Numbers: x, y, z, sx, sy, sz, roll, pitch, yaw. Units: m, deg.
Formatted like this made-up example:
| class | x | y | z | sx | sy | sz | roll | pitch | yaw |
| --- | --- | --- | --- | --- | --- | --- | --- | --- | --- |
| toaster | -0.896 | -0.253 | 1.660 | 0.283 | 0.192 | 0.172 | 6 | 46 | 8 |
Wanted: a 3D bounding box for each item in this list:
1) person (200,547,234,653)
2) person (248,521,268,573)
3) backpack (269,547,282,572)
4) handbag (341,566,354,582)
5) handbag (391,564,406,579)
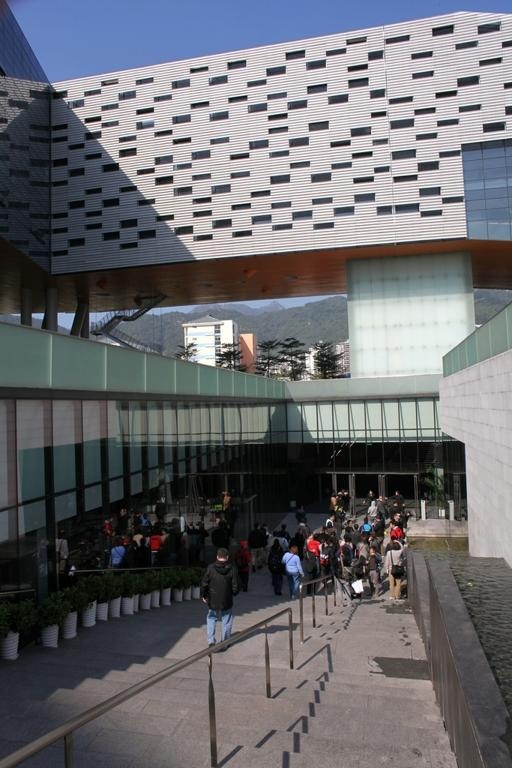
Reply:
| class | x | y | z | sx | sy | sz | roll | pitch | yaw |
| --- | --- | --- | --- | --- | --- | --- | --- | --- | --- |
| person | -0.464 | 2.564 | 7.272 | 0.418 | 1.252 | 1.150 | -2 | -5 | -6 |
| person | 0.017 | 4.141 | 15.321 | 0.410 | 1.291 | 0.402 | 2 | 17 | 6 |
| backpack | 0.406 | 3.647 | 12.276 | 0.277 | 0.523 | 0.362 | -3 | -5 | 3 |
| handbag | 1.836 | 3.763 | 11.857 | 0.097 | 0.291 | 0.301 | 1 | -6 | -42 |
| handbag | 2.814 | 3.712 | 11.786 | 0.224 | 0.351 | 0.484 | -5 | -5 | 27 |
